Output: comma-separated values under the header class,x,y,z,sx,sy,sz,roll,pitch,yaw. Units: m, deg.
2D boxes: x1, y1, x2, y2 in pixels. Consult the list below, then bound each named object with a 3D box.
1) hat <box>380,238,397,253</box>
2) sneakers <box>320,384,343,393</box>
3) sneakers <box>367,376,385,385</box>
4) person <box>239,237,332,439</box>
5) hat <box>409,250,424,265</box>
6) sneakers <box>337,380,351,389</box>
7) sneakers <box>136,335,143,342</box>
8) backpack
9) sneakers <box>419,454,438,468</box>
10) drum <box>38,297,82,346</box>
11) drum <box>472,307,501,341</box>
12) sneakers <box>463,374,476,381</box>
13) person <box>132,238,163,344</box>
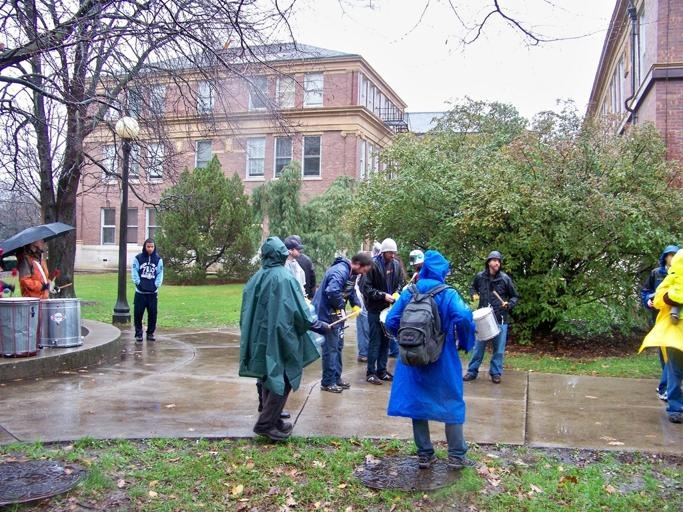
class,x,y,z,sx,sy,sz,roll,pitch,yaw
hat,0.773,-0.173,10.835,0.196,0.233,0.262,4,-2,-30
sneakers,-0.156,2.036,9.808,0.309,0.159,0.120,-2,-2,16
sneakers,0.549,2.027,10.428,0.110,0.108,0.270,-2,0,-43
person,-0.765,1.006,7.867,0.971,2.415,0.740,0,6,-13
hat,1.200,0.028,10.299,0.200,0.175,0.274,-4,-5,-3
sneakers,0.038,2.034,10.061,0.202,0.105,0.090,-1,0,8
sneakers,-4.287,1.751,13.528,0.083,0.105,0.242,-1,-10,-14
backpack,0.898,0.782,7.050,0.431,0.880,0.541,3,6,25
sneakers,0.957,2.315,7.215,0.087,0.125,0.275,0,-5,19
drum,-4.770,1.164,11.081,0.680,0.752,0.715,0,-2,-3
drum,1.895,0.949,8.443,0.316,0.446,0.531,2,6,12
sneakers,2.153,2.043,10.814,0.117,0.110,0.270,3,-8,-41
person,-4.130,0.728,13.662,0.586,2.168,0.851,-1,6,-19
